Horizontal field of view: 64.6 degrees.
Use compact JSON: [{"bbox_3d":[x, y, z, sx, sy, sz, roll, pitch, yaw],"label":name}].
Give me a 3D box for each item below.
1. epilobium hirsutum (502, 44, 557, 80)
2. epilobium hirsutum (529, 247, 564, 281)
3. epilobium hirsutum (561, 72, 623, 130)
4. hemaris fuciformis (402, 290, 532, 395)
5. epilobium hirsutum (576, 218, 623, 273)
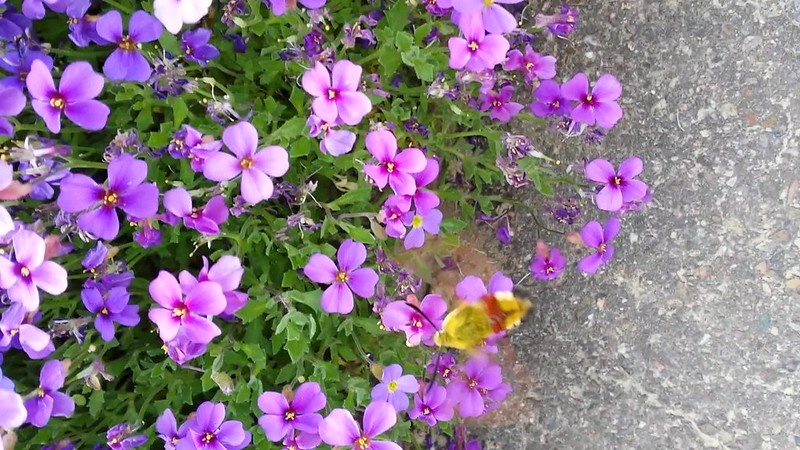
[{"bbox_3d":[0.996,-1.209,4.764,0.305,0.094,0.305,44,103,-1],"label":"epilobium hirsutum"},{"bbox_3d":[1.162,0.305,5.031,0.255,0.293,0.220,-23,83,0],"label":"epilobium hirsutum"},{"bbox_3d":[1.404,-0.903,4.581,0.397,0.136,0.417,-22,94,31],"label":"epilobium hirsutum"},{"bbox_3d":[0.539,0.618,4.205,0.675,0.155,0.330,-33,84,-2],"label":"hemaris fuciformis"},{"bbox_3d":[1.490,0.160,4.853,0.279,0.400,0.370,-5,84,2],"label":"epilobium hirsutum"}]
